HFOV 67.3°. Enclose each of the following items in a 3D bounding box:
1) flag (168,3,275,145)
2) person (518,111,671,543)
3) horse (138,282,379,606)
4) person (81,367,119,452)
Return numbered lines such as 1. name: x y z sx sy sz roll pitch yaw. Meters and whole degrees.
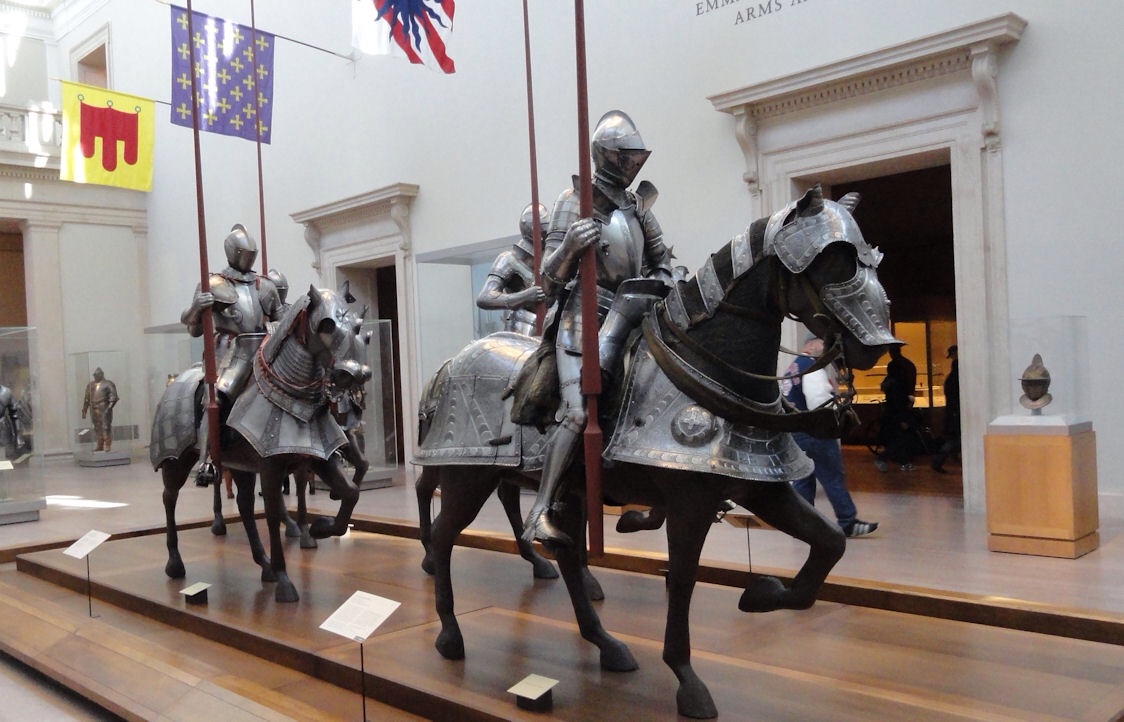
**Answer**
1. flag: -5.000 -4.273 12.573 1.510 1.622 1.247 -2 1 -32
2. person: 0.314 -0.224 5.481 0.679 2.674 1.114 7 7 44
3. horse: -2.565 0.680 7.257 2.550 2.024 0.689 -1 1 36
4. person: -9.957 1.053 18.271 0.665 1.686 0.524 -2 1 -26
